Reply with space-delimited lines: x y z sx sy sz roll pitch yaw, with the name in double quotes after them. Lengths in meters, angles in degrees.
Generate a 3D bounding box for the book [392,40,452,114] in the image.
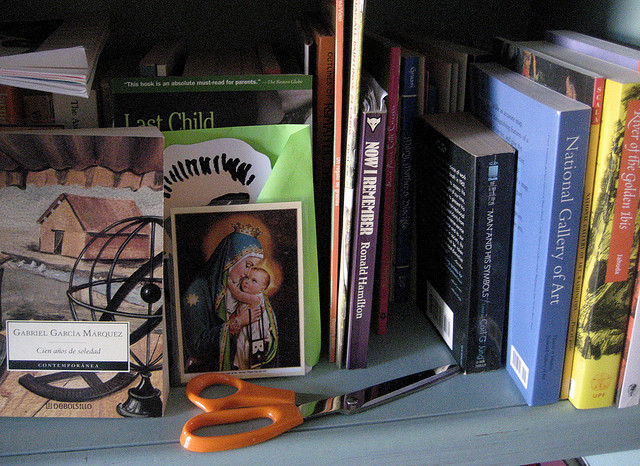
0.145 -0.202 0.839 0.056 0.091 0.097 -11 28 10 "book"

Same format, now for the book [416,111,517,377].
0.195 0.014 0.729 0.089 0.351 0.253 -7 23 -5 "book"

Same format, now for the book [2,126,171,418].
-0.281 0.052 0.675 0.232 0.351 0.051 -6 10 1 "book"

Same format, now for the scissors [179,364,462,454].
0.008 0.196 0.711 0.365 0.059 0.104 -7 9 -13 "scissors"
